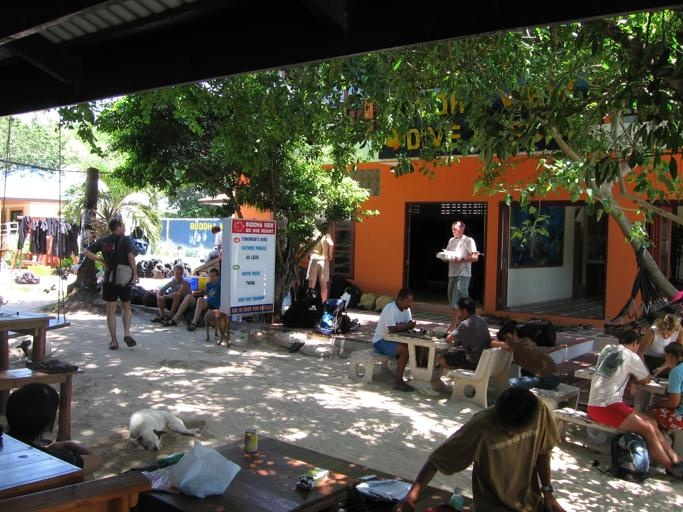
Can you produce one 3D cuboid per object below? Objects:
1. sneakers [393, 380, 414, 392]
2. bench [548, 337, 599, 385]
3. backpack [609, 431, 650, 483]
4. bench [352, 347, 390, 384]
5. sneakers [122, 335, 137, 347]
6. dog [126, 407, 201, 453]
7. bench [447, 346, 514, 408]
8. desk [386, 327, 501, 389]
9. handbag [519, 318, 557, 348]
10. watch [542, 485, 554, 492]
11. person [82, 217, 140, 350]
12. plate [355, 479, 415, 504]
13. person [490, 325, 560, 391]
[{"bbox_3d":[1.003,2.116,7.202,0.272,0.092,0.141,-2,-1,24],"label":"sneakers"},{"bbox_3d":[4.712,2.022,8.996,0.691,0.357,1.633,1,5,30],"label":"bench"},{"bbox_3d":[3.114,2.169,4.799,0.413,0.445,0.540,5,-15,30],"label":"backpack"},{"bbox_3d":[0.443,1.833,7.643,0.517,0.380,0.806,1,0,34],"label":"bench"},{"bbox_3d":[-4.227,1.704,8.824,0.173,0.301,0.125,-23,31,-4],"label":"sneakers"},{"bbox_3d":[-2.043,1.892,4.920,0.352,0.261,0.807,-5,-5,3],"label":"dog"},{"bbox_3d":[2.180,1.871,7.016,0.658,0.770,1.098,0,-7,39],"label":"bench"},{"bbox_3d":[1.434,1.786,7.386,1.354,0.773,1.423,5,-7,5],"label":"desk"},{"bbox_3d":[3.618,1.427,8.129,0.683,0.503,0.596,11,9,34],"label":"handbag"},{"bbox_3d":[1.304,1.474,2.774,0.074,0.041,0.053,-1,-3,7],"label":"watch"},{"bbox_3d":[-4.450,0.551,8.646,0.885,2.539,0.502,2,5,-8],"label":"person"},{"bbox_3d":[0.298,1.649,3.119,0.351,0.086,0.340,-4,-4,16],"label":"plate"},{"bbox_3d":[2.591,1.400,6.378,0.864,0.912,0.765,-6,-9,41],"label":"person"}]
